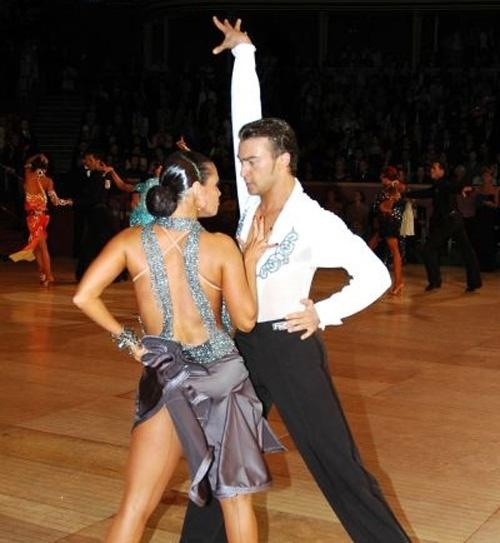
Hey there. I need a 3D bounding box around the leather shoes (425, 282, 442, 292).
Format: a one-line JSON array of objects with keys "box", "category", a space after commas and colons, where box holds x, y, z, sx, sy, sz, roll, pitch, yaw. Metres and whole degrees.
[{"box": [3.613, 0.300, 9.418, 0.149, 0.170, 0.418, -2, -9, 36], "category": "leather shoes"}]

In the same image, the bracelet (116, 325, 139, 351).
[{"box": [-0.302, 0.167, 1.195, 0.054, 0.061, 0.034, 9, -39, -5], "category": "bracelet"}]

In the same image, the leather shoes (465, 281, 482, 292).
[{"box": [4.374, 0.271, 9.363, 0.279, 0.216, 0.532, 5, 9, 24], "category": "leather shoes"}]
